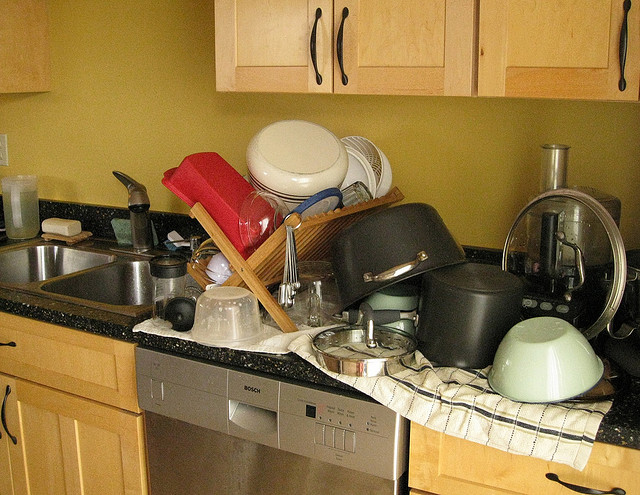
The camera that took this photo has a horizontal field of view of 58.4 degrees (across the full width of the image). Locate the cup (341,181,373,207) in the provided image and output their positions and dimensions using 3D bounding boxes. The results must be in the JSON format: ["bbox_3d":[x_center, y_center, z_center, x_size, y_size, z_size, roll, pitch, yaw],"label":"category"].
[{"bbox_3d":[0.113,-0.141,1.744,0.084,0.078,0.074,-23,-4,3],"label":"cup"}]

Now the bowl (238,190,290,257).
[{"bbox_3d":[-0.161,-0.077,1.551,0.035,0.150,0.145,4,43,25],"label":"bowl"}]

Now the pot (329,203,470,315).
[{"bbox_3d":[0.182,0.026,1.420,0.270,0.113,0.272,-28,1,1],"label":"pot"}]

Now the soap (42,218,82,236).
[{"bbox_3d":[-1.075,-0.084,2.362,0.157,0.065,0.080,2,8,10],"label":"soap"}]

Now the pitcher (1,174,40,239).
[{"bbox_3d":[-1.240,-0.164,2.377,0.126,0.255,0.098,-5,10,-31],"label":"pitcher"}]

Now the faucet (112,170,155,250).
[{"bbox_3d":[-0.727,-0.143,2.219,0.156,0.297,0.140,1,8,3],"label":"faucet"}]

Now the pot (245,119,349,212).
[{"bbox_3d":[-0.064,-0.233,1.620,0.285,0.257,0.144,0,8,-4],"label":"pot"}]

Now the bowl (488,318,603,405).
[{"bbox_3d":[0.513,0.236,1.282,0.247,0.102,0.250,-12,12,3],"label":"bowl"}]

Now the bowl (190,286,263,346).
[{"bbox_3d":[-0.250,0.156,1.472,0.143,0.100,0.142,1,6,0],"label":"bowl"}]

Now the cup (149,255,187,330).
[{"bbox_3d":[-0.424,0.127,1.586,0.102,0.178,0.104,0,8,0],"label":"cup"}]

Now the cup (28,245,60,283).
[{"bbox_3d":[-1.104,0.060,2.282,0.087,0.172,0.089,1,17,0],"label":"cup"}]

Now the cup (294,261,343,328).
[{"bbox_3d":[-0.008,0.133,1.566,0.123,0.157,0.253,0,8,-1],"label":"cup"}]
